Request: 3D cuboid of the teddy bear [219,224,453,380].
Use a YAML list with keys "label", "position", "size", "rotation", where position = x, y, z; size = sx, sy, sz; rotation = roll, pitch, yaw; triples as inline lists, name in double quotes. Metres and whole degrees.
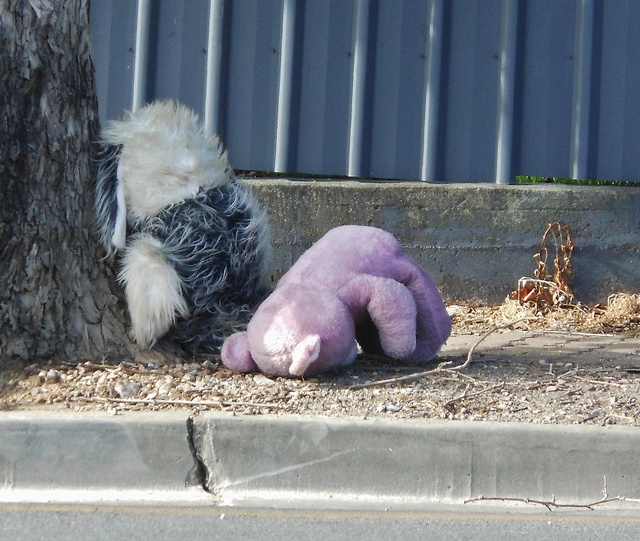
- label: "teddy bear"
  position: [0.122, 0.172, 9.757]
  size: [1.033, 0.698, 0.772]
  rotation: [-24, 13, -35]
